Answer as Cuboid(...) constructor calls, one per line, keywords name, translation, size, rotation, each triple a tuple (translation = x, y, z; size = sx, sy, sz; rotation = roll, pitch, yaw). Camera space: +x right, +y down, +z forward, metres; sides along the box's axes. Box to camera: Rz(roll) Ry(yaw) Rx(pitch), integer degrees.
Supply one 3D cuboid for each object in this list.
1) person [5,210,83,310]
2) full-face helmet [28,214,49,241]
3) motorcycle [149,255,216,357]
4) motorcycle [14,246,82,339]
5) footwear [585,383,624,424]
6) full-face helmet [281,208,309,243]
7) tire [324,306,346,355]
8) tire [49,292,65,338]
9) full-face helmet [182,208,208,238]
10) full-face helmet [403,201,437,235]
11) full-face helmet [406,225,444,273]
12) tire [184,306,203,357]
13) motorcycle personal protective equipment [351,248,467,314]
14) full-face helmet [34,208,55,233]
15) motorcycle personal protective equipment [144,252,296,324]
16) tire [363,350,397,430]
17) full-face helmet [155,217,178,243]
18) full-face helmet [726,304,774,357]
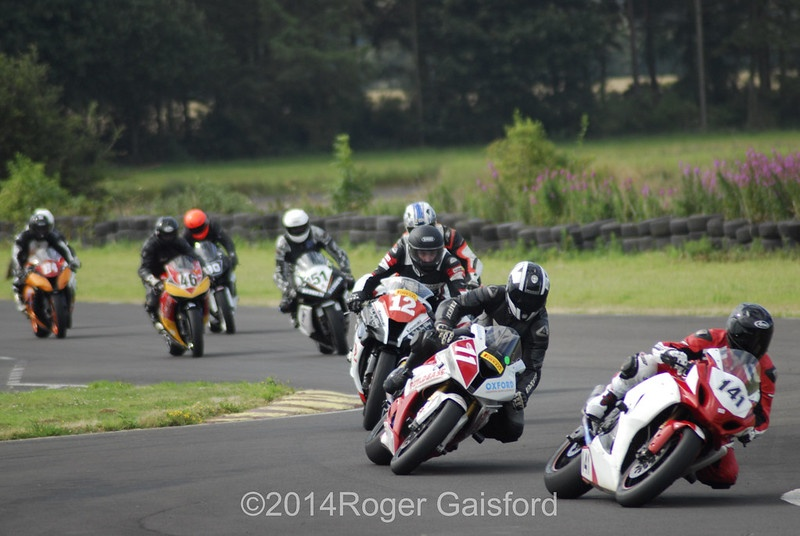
Cuboid(name="person", translation=(-7.810, -0.555, 29.894), size=(1.068, 1.458, 2.514), rotation=(-7, 5, -24))
Cuboid(name="full-face helmet", translation=(-7.586, -0.905, 28.983), size=(0.518, 0.530, 0.315), rotation=(-4, 6, 1))
Cuboid(name="motorcycle", translation=(-4.199, 0.760, 26.837), size=(0.989, 1.959, 0.650), rotation=(-4, 6, -2))
Cuboid(name="motorcycle", translation=(-7.373, 0.480, 28.816), size=(0.963, 1.983, 0.674), rotation=(-3, 6, 9))
Cuboid(name="footwear", translation=(2.901, 1.914, 19.539), size=(0.409, 0.542, 0.246), rotation=(36, -3, 16))
Cuboid(name="full-face helmet", translation=(-2.020, -0.870, 27.079), size=(0.532, 0.617, 0.687), rotation=(-11, 12, -4))
Cuboid(name="tire", translation=(-1.220, 1.210, 26.527), size=(0.393, 1.000, 0.455), rotation=(-4, 6, -4))
Cuboid(name="tire", translation=(-7.097, 1.002, 28.662), size=(0.300, 0.940, 0.331), rotation=(-5, 7, -14))
Cuboid(name="full-face helmet", translation=(-4.364, -0.955, 29.001), size=(0.437, 0.599, 0.587), rotation=(-17, -34, 9))
Cuboid(name="full-face helmet", translation=(0.343, -0.856, 23.566), size=(0.415, 0.547, 0.540), rotation=(-7, 18, -2))
Cuboid(name="full-face helmet", translation=(0.412, -0.298, 21.979), size=(0.562, 0.779, 0.649), rotation=(-4, 6, -1))
Cuboid(name="tire", translation=(-3.933, 1.238, 26.655), size=(0.254, 0.978, 0.149), rotation=(-6, 7, -20))
Cuboid(name="motorcycle personal protective equipment", translation=(-0.152, 0.249, 23.064), size=(1.747, 0.761, 0.963), rotation=(-11, 45, -5))
Cuboid(name="full-face helmet", translation=(-7.552, -1.037, 29.066), size=(0.422, 0.508, 0.499), rotation=(-5, 25, -30))
Cuboid(name="motorcycle personal protective equipment", translation=(-3.991, 0.450, 27.072), size=(1.374, 1.644, 2.840), rotation=(-11, 3, -36))
Cuboid(name="tire", translation=(-0.288, 1.897, 21.159), size=(0.203, 1.007, 1.048), rotation=(13, 16, 5))
Cuboid(name="full-face helmet", translation=(-4.615, -0.767, 27.284), size=(0.390, 0.444, 0.476), rotation=(-2, 13, -15))
Cuboid(name="full-face helmet", translation=(4.873, 0.901, 19.211), size=(0.614, 0.748, 0.377), rotation=(-2, 7, 14))
